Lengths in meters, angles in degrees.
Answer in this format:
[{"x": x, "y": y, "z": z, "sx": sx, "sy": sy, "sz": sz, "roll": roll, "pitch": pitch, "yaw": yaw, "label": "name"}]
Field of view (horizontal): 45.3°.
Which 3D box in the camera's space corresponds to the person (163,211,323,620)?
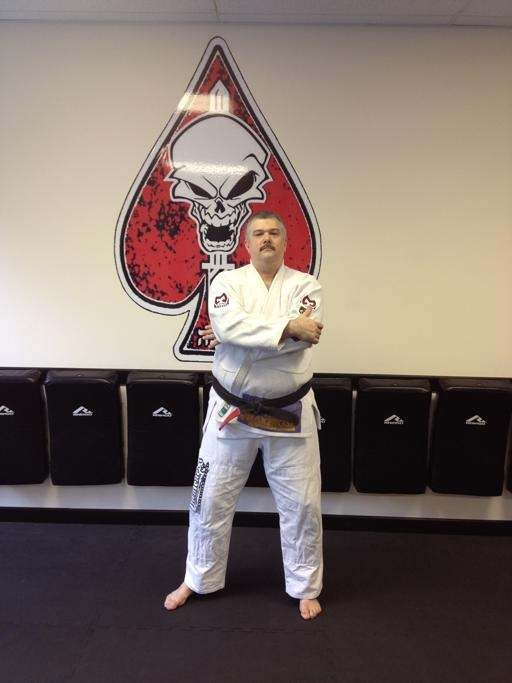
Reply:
[{"x": -0.013, "y": 0.284, "z": 2.388, "sx": 0.611, "sy": 1.552, "sz": 0.357, "roll": 3, "pitch": 11, "yaw": 7, "label": "person"}]
